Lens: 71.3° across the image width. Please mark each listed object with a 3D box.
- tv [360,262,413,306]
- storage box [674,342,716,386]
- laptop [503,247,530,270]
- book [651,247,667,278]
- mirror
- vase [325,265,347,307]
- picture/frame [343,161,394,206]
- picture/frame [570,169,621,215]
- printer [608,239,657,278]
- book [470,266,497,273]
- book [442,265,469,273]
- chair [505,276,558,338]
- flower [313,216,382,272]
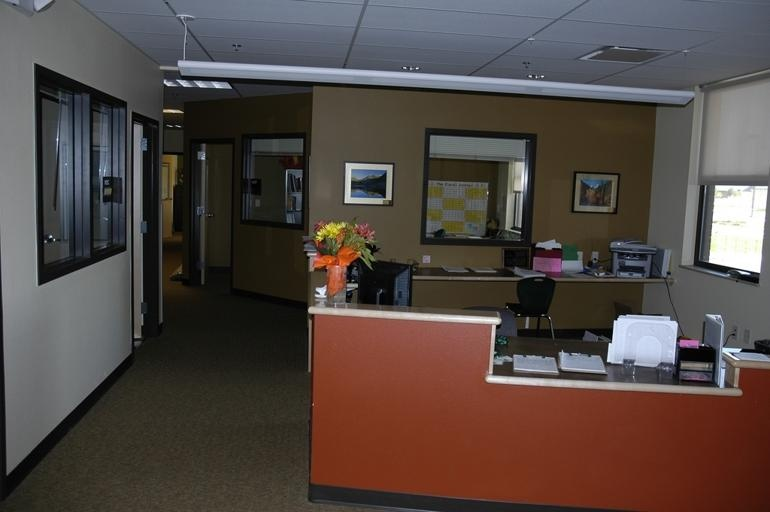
[{"bbox_3d":[0.007,0.265,5.107,0.385,0.406,0.142,5,5,42],"label":"tv"},{"bbox_3d":[2.451,0.828,4.356,0.343,0.369,0.263,1,0,9],"label":"storage box"},{"bbox_3d":[1.907,0.021,7.844,0.468,0.346,0.260,2,9,-3],"label":"laptop"},{"bbox_3d":[3.850,0.094,7.538,0.124,0.401,0.375,1,6,4],"label":"book"},{"bbox_3d":[1.589,-1.129,9.009,1.728,1.725,0.127,1,9,-14],"label":"mirror"},{"bbox_3d":[-0.464,0.264,5.076,0.273,0.369,0.266,1,3,-41],"label":"vase"},{"bbox_3d":[-0.273,-1.086,7.744,0.574,0.510,0.038,1,1,-4],"label":"picture/frame"},{"bbox_3d":[3.109,-0.989,8.005,0.631,0.568,0.062,1,2,-6],"label":"picture/frame"},{"bbox_3d":[3.464,0.039,7.509,0.466,0.408,0.564,1,1,10],"label":"printer"},{"bbox_3d":[1.398,0.194,7.661,0.364,0.037,0.397,1,13,3],"label":"book"},{"bbox_3d":[1.008,0.182,7.671,0.337,0.034,0.468,0,13,1],"label":"book"},{"bbox_3d":[1.817,0.691,6.685,0.509,0.935,0.612,0,-9,31],"label":"chair"},{"bbox_3d":[-0.394,-0.109,5.087,0.532,0.480,0.517,-2,3,-42],"label":"flower"}]
